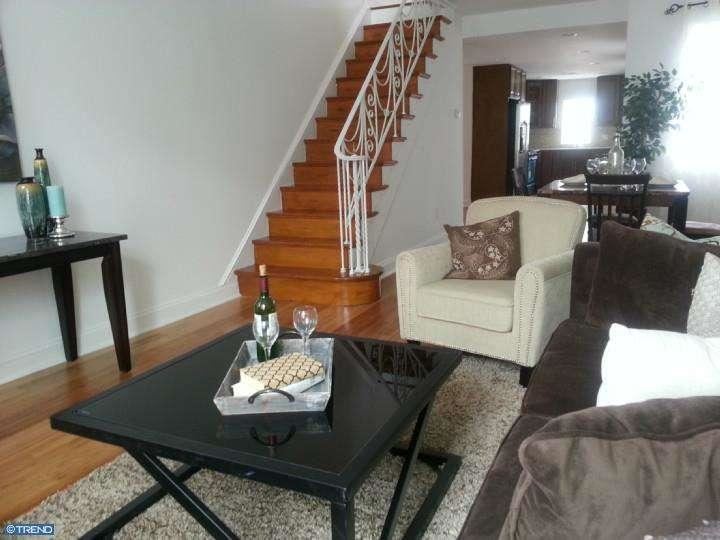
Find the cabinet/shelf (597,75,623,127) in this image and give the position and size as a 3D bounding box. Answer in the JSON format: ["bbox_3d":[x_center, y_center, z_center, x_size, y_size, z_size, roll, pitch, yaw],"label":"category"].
[{"bbox_3d":[5.030,-3.411,11.440,0.464,1.041,0.663,4,15,19],"label":"cabinet/shelf"}]

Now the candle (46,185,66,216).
[{"bbox_3d":[-1.716,-0.386,3.211,0.083,0.178,0.123,-2,14,-6],"label":"candle"}]

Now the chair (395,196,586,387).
[{"bbox_3d":[0.792,0.106,3.558,1.063,1.155,1.023,6,14,36],"label":"chair"}]

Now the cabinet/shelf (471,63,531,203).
[{"bbox_3d":[2.364,-2.403,10.063,0.808,2.342,0.497,3,14,13],"label":"cabinet/shelf"}]

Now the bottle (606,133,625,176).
[{"bbox_3d":[2.134,-0.967,4.715,0.132,0.305,0.425,6,16,25],"label":"bottle"}]

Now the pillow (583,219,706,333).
[{"bbox_3d":[1.152,0.043,2.283,0.388,0.443,0.176,8,0,39],"label":"pillow"}]

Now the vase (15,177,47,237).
[{"bbox_3d":[-1.777,-0.320,3.078,0.129,0.302,0.084,-11,17,-35],"label":"vase"}]
